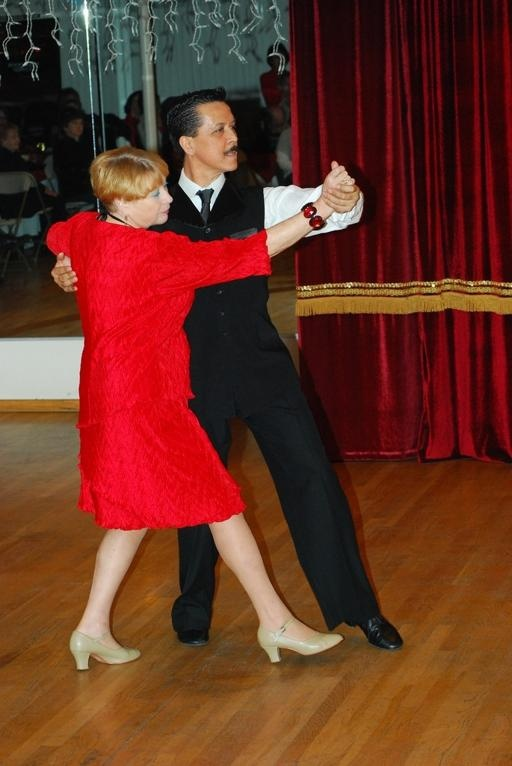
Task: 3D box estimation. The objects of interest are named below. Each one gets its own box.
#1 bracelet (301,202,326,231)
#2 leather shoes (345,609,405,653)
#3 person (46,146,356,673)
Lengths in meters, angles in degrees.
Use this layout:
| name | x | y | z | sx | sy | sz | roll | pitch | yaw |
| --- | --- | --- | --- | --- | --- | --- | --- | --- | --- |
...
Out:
| name | x | y | z | sx | sy | sz | roll | pitch | yaw |
| --- | --- | --- | --- | --- | --- | --- | --- | --- | --- |
| bracelet | 0.100 | -0.291 | 1.128 | 0.031 | 0.048 | 0.012 | -26 | -6 | -28 |
| leather shoes | 0.308 | 0.615 | 1.642 | 0.059 | 0.058 | 0.159 | -19 | 21 | -41 |
| person | -0.075 | 0.065 | 1.450 | 0.785 | 1.067 | 0.617 | 2 | 5 | 30 |
